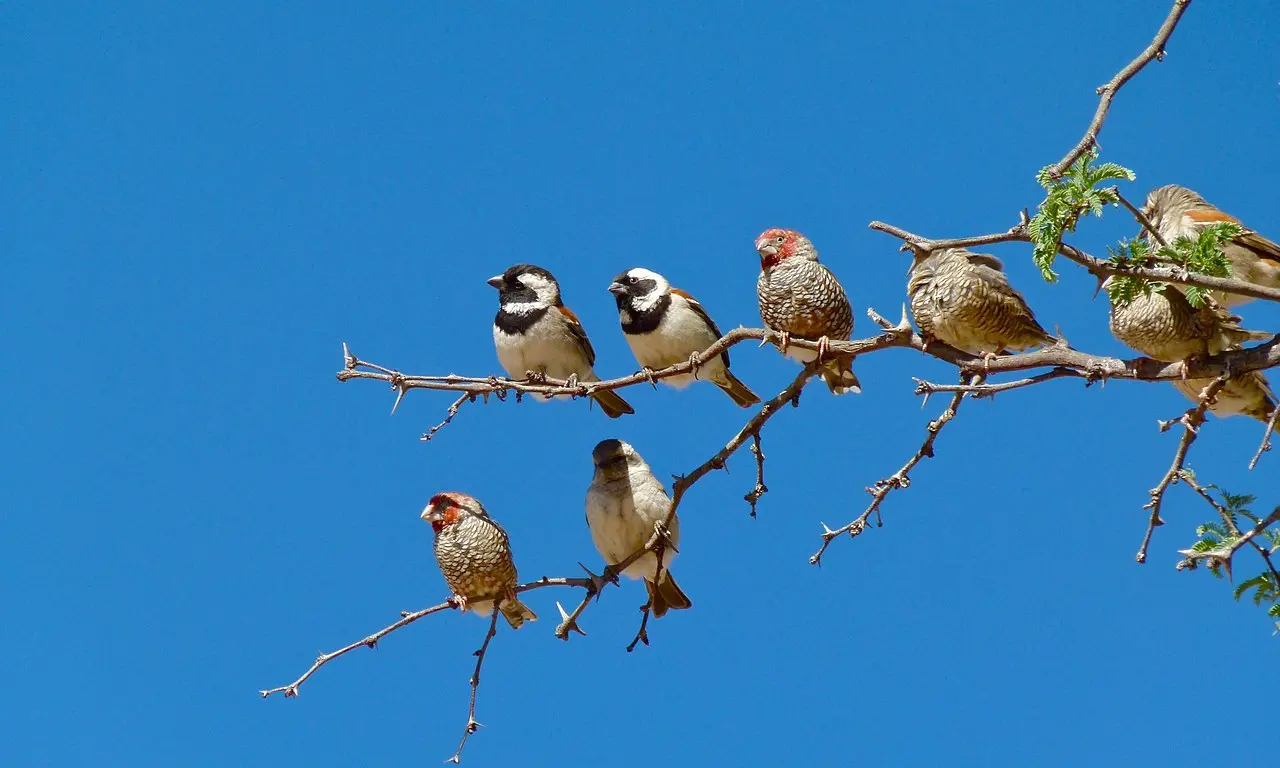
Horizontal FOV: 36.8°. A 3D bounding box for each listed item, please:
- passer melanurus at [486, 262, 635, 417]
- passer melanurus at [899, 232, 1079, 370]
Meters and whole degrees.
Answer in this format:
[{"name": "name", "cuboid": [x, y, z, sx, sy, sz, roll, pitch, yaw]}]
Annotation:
[{"name": "passer melanurus", "cuboid": [-0.443, -0.242, 10.164, 0.539, 0.660, 0.937, -13, -13, 39]}, {"name": "passer melanurus", "cuboid": [1.712, -0.352, 9.549, 1.130, 0.556, 0.414, 6, -16, -39]}]
